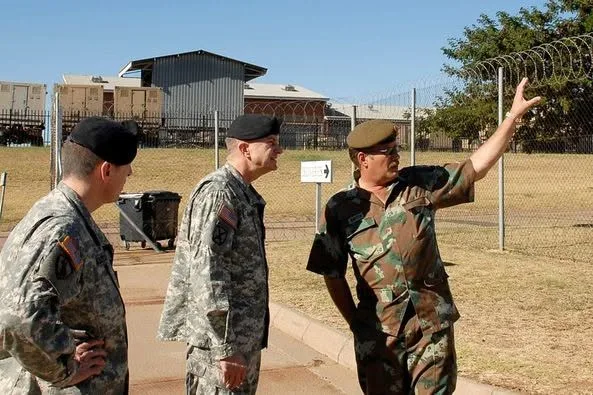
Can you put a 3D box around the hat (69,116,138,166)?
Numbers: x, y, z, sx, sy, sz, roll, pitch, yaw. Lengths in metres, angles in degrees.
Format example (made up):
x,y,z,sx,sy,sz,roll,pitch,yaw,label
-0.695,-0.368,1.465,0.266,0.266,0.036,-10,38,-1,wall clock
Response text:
x,y,z,sx,sy,sz,roll,pitch,yaw,label
-1.268,-0.437,3.924,0.486,0.274,0.388,16,10,26,hat

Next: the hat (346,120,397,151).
x,y,z,sx,sy,sz,roll,pitch,yaw,label
0.583,-0.487,4.715,0.410,0.164,0.456,-13,13,-6,hat

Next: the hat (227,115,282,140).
x,y,z,sx,sy,sz,roll,pitch,yaw,label
-0.332,-0.492,4.496,0.225,0.127,0.284,-14,8,-41,hat

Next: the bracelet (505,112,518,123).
x,y,z,sx,sy,sz,roll,pitch,yaw,label
1.615,-0.614,4.485,0.079,0.074,0.124,-4,9,-8,bracelet

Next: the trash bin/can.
x,y,z,sx,sy,sz,roll,pitch,yaw,label
-2.949,0.445,11.953,0.992,1.231,1.078,1,3,16,trash bin/can
